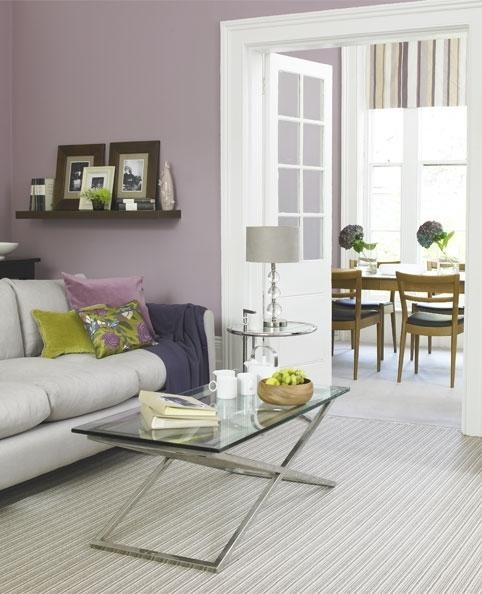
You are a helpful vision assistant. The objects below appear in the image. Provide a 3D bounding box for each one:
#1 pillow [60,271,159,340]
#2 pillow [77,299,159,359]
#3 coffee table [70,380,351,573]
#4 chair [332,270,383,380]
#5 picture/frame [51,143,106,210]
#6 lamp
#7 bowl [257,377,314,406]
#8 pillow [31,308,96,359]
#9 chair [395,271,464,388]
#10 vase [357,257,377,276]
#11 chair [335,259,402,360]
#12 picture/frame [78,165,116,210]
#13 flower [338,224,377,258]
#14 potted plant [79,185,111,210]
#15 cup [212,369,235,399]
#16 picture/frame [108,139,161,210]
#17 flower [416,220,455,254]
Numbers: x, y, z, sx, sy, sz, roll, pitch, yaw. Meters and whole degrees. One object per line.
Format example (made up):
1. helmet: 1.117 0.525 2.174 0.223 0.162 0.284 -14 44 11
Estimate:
1. pillow: -0.837 0.067 3.179 0.479 0.344 0.164 3 -21 -41
2. pillow: -0.750 0.177 2.982 0.123 0.298 0.423 -39 -17 31
3. coffee table: -0.008 0.598 1.823 0.512 0.317 0.886 3 5 28
4. chair: 1.020 0.202 4.854 0.562 0.938 0.623 2 7 36
5. picture/frame: -1.263 -0.948 3.940 0.583 0.663 0.051 4 2 24
6. lamp: 0.207 -0.116 2.974 0.293 0.600 0.449 -2 -2 9
7. bowl: 0.177 0.355 1.863 0.123 0.044 0.109 -2 1 -18
8. pillow: -1.042 0.172 2.986 0.390 0.333 0.117 -6 -11 25
9. chair: 1.782 0.276 4.703 0.562 0.999 1.441 -2 -2 22
10. vase: 1.278 -0.294 5.001 0.206 0.195 0.186 1 -2 -40
11. chair: 1.261 0.205 5.398 0.792 1.115 0.764 0 16 32
12. picture/frame: -1.095 -0.839 3.846 0.391 0.444 0.033 1 -4 27
13. flower: 1.182 -0.595 5.187 0.287 0.321 0.295 0 -2 -30
14. potted plant: -1.128 -0.747 3.823 0.285 0.205 0.167 -2 -2 5
15. cup: -0.059 0.349 2.024 0.123 0.102 0.091 -1 5 -5
16. picture/frame: -0.785 -0.927 3.753 0.594 0.699 0.058 2 5 21
17. flower: 1.906 -0.595 4.940 0.295 0.361 0.341 -2 -2 13
